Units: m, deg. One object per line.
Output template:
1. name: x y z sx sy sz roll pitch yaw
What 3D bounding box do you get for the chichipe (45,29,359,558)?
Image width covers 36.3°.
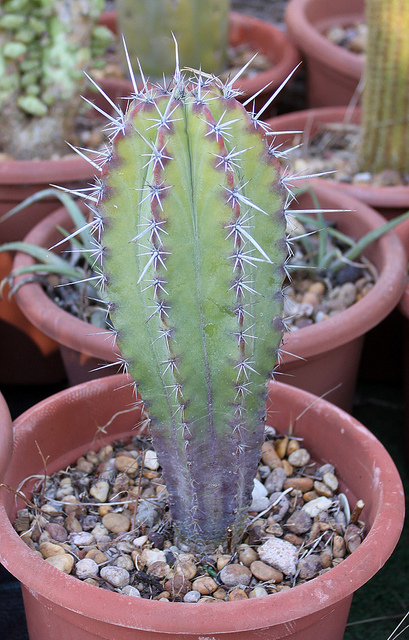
1. chichipe: -0.032 0.010 0.805 0.269 0.633 0.270 3 39 7
